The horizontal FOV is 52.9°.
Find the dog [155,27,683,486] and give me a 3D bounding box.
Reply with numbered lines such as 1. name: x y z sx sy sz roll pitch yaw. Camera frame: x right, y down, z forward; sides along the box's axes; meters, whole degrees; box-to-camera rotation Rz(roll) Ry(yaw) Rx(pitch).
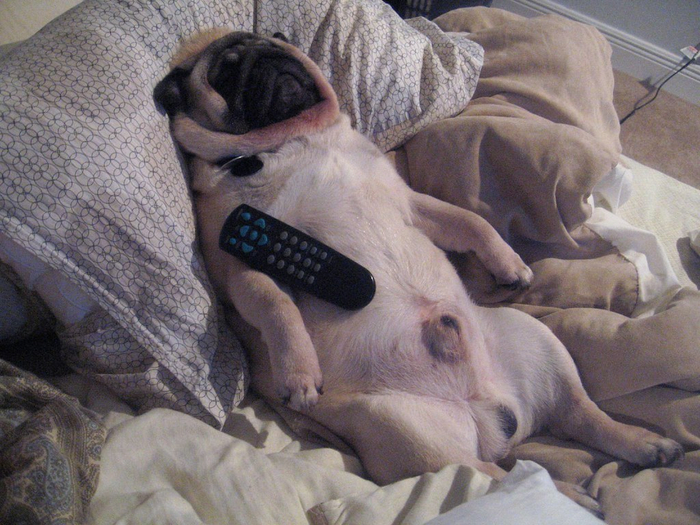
1. dog: -0.004 0.118 2.196 0.857 0.769 1.705 -30 64 -27

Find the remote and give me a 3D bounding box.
1. remote: -0.113 0.026 2.013 0.551 0.080 0.207 31 86 -5
